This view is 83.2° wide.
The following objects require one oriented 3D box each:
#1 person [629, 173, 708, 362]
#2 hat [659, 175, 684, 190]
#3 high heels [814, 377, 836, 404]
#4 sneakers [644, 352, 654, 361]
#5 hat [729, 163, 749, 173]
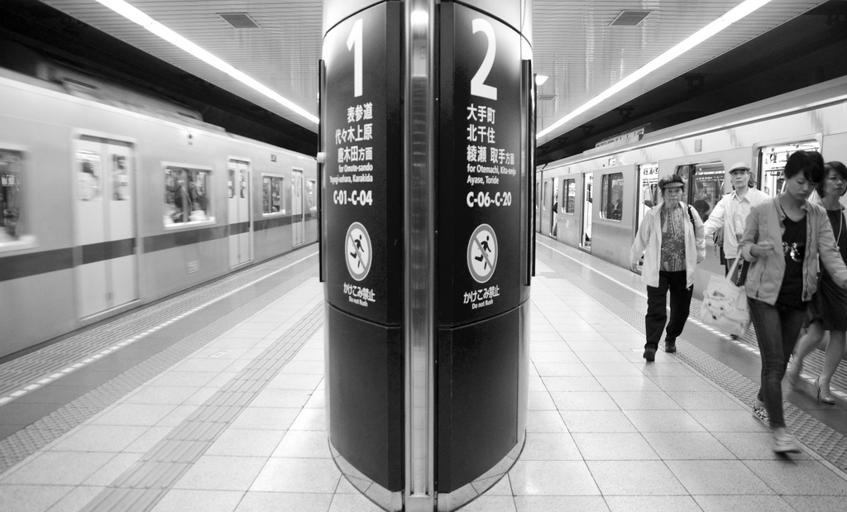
[{"bbox_3d":[3.431,0.127,6.695,0.888,2.468,0.647,-4,14,-15],"label":"person"},{"bbox_3d":[3.443,-1.016,6.594,0.295,0.207,0.175,6,15,22],"label":"hat"},{"bbox_3d":[4.741,1.571,5.640,0.132,0.204,0.442,-2,2,13],"label":"high heels"},{"bbox_3d":[3.120,1.369,6.568,0.089,0.139,0.151,1,-11,3],"label":"sneakers"},{"bbox_3d":[4.662,-1.296,7.007,0.261,0.109,0.299,5,8,37],"label":"hat"}]
